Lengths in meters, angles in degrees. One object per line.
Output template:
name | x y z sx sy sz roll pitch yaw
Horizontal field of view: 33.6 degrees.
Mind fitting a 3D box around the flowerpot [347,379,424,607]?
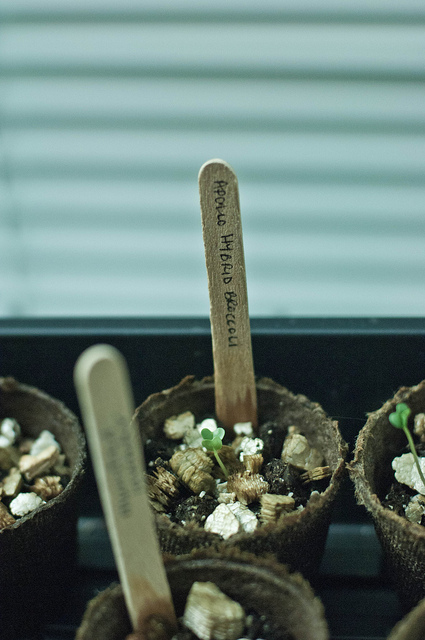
flowerpot | 0.192 0.188 0.776 0.086 0.163 0.217 1 27 11

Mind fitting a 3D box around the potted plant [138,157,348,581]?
potted plant | 0.066 0.029 0.827 0.237 0.444 0.206 2 31 2
